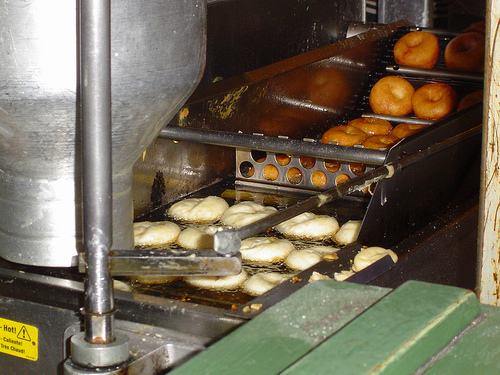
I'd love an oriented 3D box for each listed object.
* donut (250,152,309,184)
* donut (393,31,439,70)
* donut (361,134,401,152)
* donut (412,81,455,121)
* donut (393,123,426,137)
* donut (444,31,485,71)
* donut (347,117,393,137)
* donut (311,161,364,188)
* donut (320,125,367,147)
[{"bbox_3d":[0.131,-0.071,2.248,0.247,0.051,0.231,-6,-21,11],"label":"donut"},{"bbox_3d":[0.931,-0.756,2.982,0.301,0.139,0.284,0,6,26],"label":"donut"},{"bbox_3d":[0.524,-0.182,2.171,0.142,0.042,0.133,0,22,7],"label":"donut"},{"bbox_3d":[0.898,-0.422,2.649,0.204,0.167,0.152,8,20,12],"label":"donut"},{"bbox_3d":[0.647,-0.233,2.199,0.120,0.034,0.113,-11,23,-15],"label":"donut"},{"bbox_3d":[1.103,-0.698,2.771,0.194,0.194,0.181,10,20,14],"label":"donut"},{"bbox_3d":[0.556,-0.288,2.491,0.140,0.053,0.133,11,28,13],"label":"donut"},{"bbox_3d":[0.348,-0.039,2.136,0.142,0.036,0.129,-26,47,-10],"label":"donut"},{"bbox_3d":[0.392,-0.211,2.224,0.144,0.067,0.134,0,26,3],"label":"donut"}]
